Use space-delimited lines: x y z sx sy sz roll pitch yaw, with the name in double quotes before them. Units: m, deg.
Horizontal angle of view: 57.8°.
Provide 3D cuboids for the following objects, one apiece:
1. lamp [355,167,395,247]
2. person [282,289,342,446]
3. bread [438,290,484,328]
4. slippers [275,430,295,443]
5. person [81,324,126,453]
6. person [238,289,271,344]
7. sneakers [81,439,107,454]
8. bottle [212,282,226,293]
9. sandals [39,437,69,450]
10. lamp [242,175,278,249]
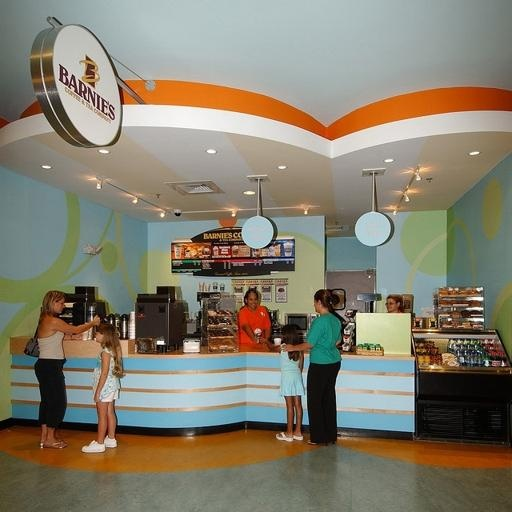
"lamp" 1.451 -0.565 5.736 0.438 0.902 0.716 -1 -4 13
"person" 0.633 1.149 4.768 0.511 1.591 0.306 0 -5 -2
"bread" 2.486 0.617 5.743 0.599 0.592 0.447 -1 -7 24
"slippers" 0.296 1.933 4.956 0.152 0.063 0.086 0 -4 35
"person" -1.522 1.322 4.643 0.358 1.251 0.250 2 -5 -27
"person" -0.026 0.809 6.148 0.426 0.706 0.676 0 -4 -1
"sneakers" -1.611 1.909 4.610 0.175 0.081 0.108 5 -18 -5
"bottle" -0.676 0.583 8.590 0.177 0.178 0.086 3 7 12
"sandals" -2.081 1.926 4.760 0.197 0.041 0.111 1 -6 4
"lamp" 0.033 -0.534 6.148 0.417 0.898 0.885 0 -4 -2
